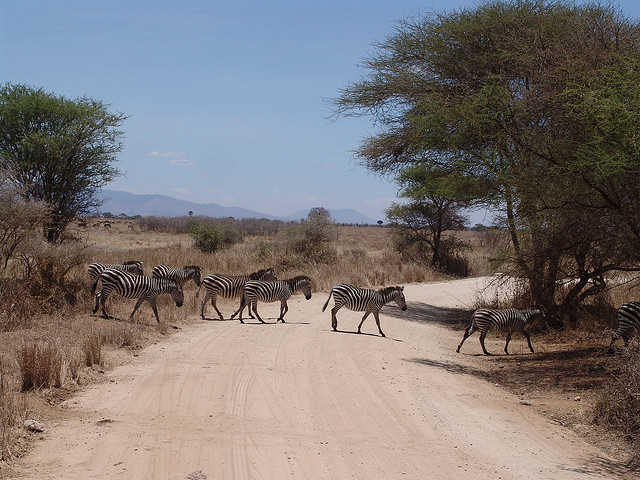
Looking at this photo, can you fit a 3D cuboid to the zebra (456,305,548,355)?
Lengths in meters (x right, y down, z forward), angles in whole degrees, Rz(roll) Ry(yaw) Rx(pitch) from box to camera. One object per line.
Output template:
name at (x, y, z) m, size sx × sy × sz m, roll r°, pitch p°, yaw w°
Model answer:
zebra at (5.127, 2.509, 18.481) m, size 2.455 × 1.437 × 0.607 m, roll 2°, pitch 6°, yaw -5°

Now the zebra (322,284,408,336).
zebra at (1.203, 2.003, 19.346) m, size 1.814 × 1.430 × 2.477 m, roll -1°, pitch -1°, yaw 40°

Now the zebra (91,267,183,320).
zebra at (-5.294, 1.613, 19.256) m, size 2.605 × 1.413 × 0.695 m, roll 7°, pitch 7°, yaw -18°

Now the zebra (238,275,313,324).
zebra at (-1.300, 1.748, 19.318) m, size 2.110 × 1.500 × 0.591 m, roll 2°, pitch -1°, yaw -10°
